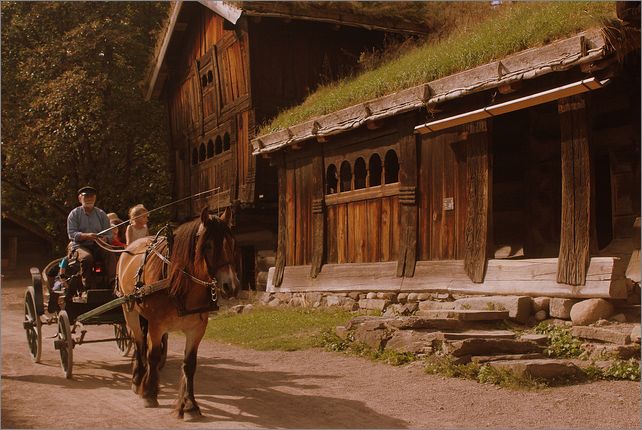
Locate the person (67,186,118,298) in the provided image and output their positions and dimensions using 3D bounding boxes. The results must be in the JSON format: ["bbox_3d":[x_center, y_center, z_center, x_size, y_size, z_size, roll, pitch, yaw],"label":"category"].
[{"bbox_3d":[-5.478,0.609,18.167,0.984,2.578,1.373,-4,3,-23],"label":"person"}]

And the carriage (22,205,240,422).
[{"bbox_3d":[-3.942,1.899,17.312,2.783,4.161,6.342,4,-6,-36],"label":"carriage"}]

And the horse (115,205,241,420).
[{"bbox_3d":[-3.048,1.846,15.836,3.117,4.100,1.576,5,14,28],"label":"horse"}]
